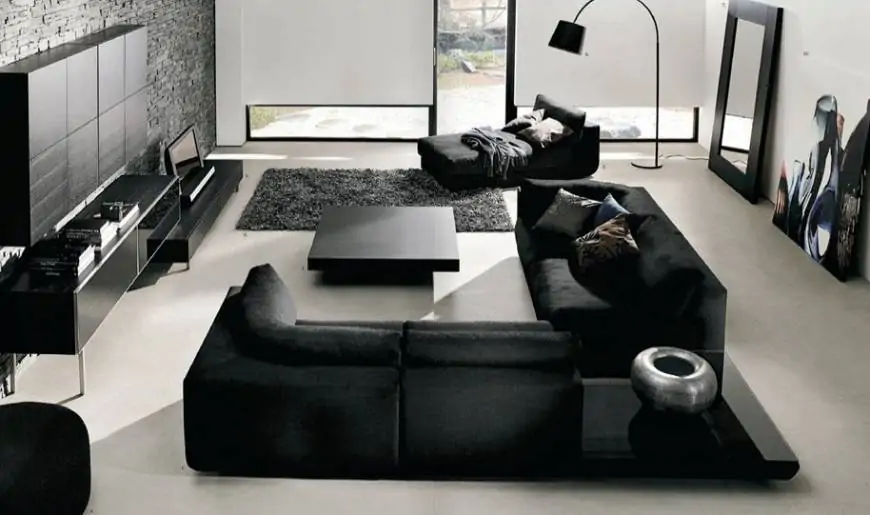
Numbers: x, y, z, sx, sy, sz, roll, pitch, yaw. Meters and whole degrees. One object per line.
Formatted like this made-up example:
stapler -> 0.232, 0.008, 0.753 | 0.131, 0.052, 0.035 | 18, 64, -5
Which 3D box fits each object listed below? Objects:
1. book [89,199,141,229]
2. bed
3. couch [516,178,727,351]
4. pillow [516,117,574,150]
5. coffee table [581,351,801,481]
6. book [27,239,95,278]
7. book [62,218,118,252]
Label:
book -> -2.566, -0.350, 4.917 | 0.312, 0.102, 0.222 | -1, 25, -10
bed -> 1.067, -1.518, 8.408 | 2.073, 0.924, 1.290 | -4, 26, -10
couch -> 1.517, -0.010, 5.642 | 1.358, 0.927, 2.755 | 6, 20, 0
pillow -> 1.515, -1.691, 8.257 | 0.485, 0.144, 0.501 | -26, 31, -20
coffee table -> 1.472, 1.073, 3.762 | 1.283, 0.340, 0.607 | -4, 28, -5
book -> -2.609, 0.027, 4.242 | 0.319, 0.071, 0.312 | 3, 26, -3
book -> -2.559, -0.204, 4.555 | 0.290, 0.088, 0.262 | 1, 20, -12
